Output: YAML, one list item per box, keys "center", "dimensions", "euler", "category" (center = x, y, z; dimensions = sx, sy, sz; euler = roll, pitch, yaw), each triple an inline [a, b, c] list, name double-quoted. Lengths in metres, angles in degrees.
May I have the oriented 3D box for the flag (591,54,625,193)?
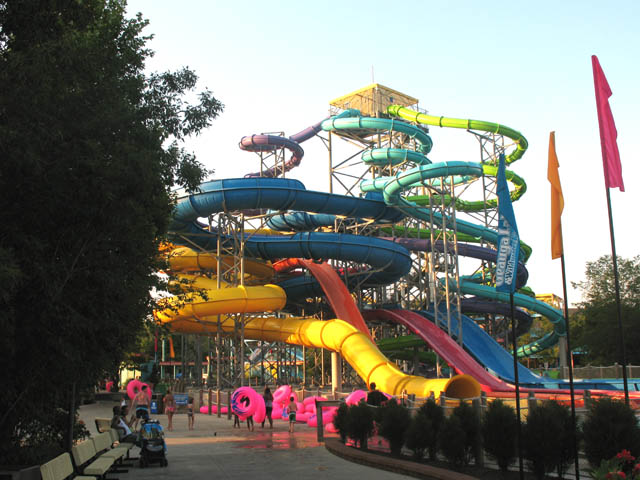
- center: [5.665, -2.296, 15.382]
  dimensions: [0.649, 2.694, 0.240]
  euler: [12, -17, -35]
  category: "flag"

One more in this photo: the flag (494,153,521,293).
- center: [3.567, -0.304, 14.824]
  dimensions: [0.408, 2.586, 0.498]
  euler: [-1, -14, 12]
  category: "flag"

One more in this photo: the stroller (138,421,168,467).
- center: [-3.431, 4.280, 16.283]
  dimensions: [0.819, 0.932, 0.549]
  euler: [-10, -18, 40]
  category: "stroller"
